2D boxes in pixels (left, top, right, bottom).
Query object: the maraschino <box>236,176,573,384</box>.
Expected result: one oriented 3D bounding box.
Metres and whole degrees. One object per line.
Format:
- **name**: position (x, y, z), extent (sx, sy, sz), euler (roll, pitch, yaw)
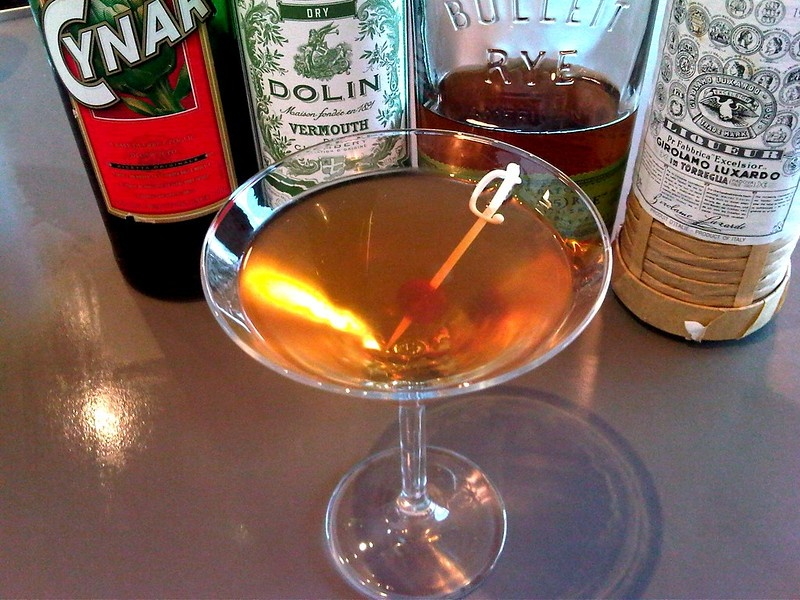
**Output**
- **maraschino**: position (0.008, -0.023, 0.628), extent (0.207, 0.083, 0.199), euler (-5, 46, -7)
